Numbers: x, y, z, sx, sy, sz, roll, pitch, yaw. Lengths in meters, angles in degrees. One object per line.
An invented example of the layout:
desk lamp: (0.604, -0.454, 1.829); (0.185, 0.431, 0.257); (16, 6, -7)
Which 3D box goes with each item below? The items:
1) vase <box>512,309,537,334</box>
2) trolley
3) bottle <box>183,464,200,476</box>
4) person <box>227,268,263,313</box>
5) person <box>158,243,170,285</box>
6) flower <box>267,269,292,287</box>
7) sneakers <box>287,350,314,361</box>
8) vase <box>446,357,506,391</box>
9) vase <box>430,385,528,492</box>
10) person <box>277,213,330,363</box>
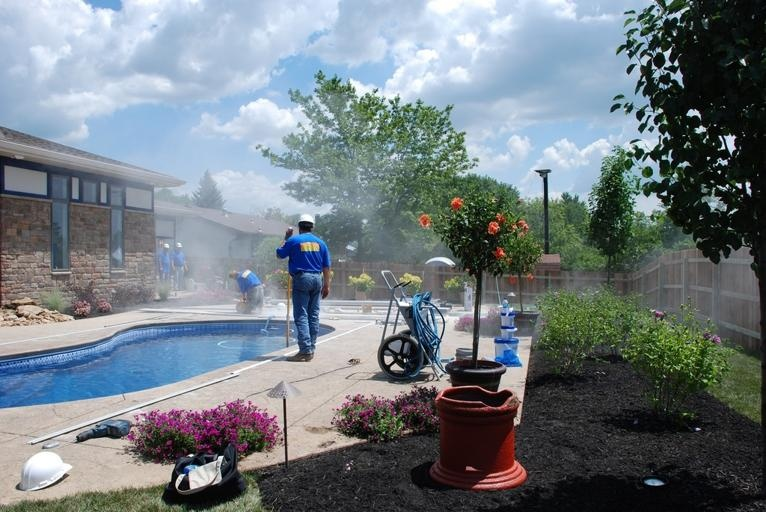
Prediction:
vase: (3.640, 1.693, 14.413); (0.541, 0.450, 0.591); (1, -5, 4)
trolley: (0.512, 1.128, 9.334); (1.154, 1.689, 1.085); (1, 2, 14)
bottle: (-1.954, 2.160, 5.722); (0.144, 0.064, 0.163); (-4, 6, -33)
person: (-4.290, 1.161, 17.900); (0.910, 1.446, 1.133); (-2, 6, -16)
person: (-8.999, 0.276, 23.153); (0.370, 1.438, 0.845); (-3, 6, -24)
flower: (-4.074, 0.855, 22.011); (0.743, 0.620, 0.757); (4, -3, -33)
sneakers: (-1.513, 1.815, 10.345); (0.451, 0.203, 0.168); (4, -4, -4)
vase: (1.198, 1.522, 7.319); (0.506, 0.280, 0.515); (0, -1, 1)
vase: (0.996, 1.977, 6.237); (1.037, 0.874, 1.058); (2, -3, -28)
person: (-1.462, 0.562, 10.553); (0.834, 2.697, 1.004); (0, 6, -1)
